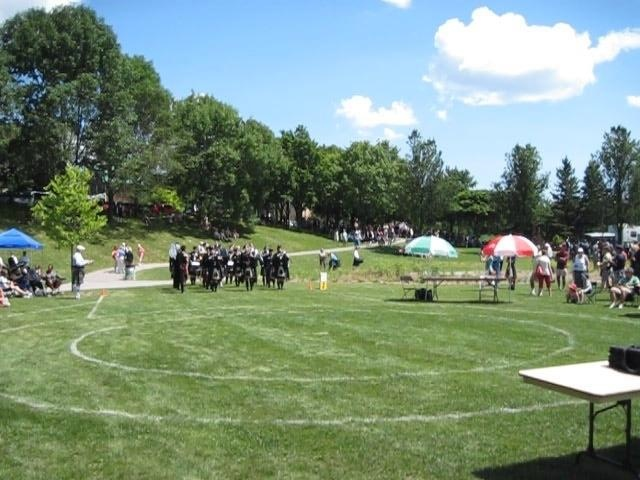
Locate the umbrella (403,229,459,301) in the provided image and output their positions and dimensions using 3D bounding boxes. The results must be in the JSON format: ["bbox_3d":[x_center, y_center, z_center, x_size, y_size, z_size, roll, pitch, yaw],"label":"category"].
[{"bbox_3d":[5.131,1.366,39.065,2.202,3.200,2.767,5,-2,13],"label":"umbrella"}]

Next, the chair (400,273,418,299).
[{"bbox_3d":[4.715,2.503,44.078,0.718,1.618,1.119,1,-6,-13],"label":"chair"}]

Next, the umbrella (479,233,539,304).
[{"bbox_3d":[10.172,1.655,44.370,1.493,3.358,1.894,-3,6,-8],"label":"umbrella"}]
